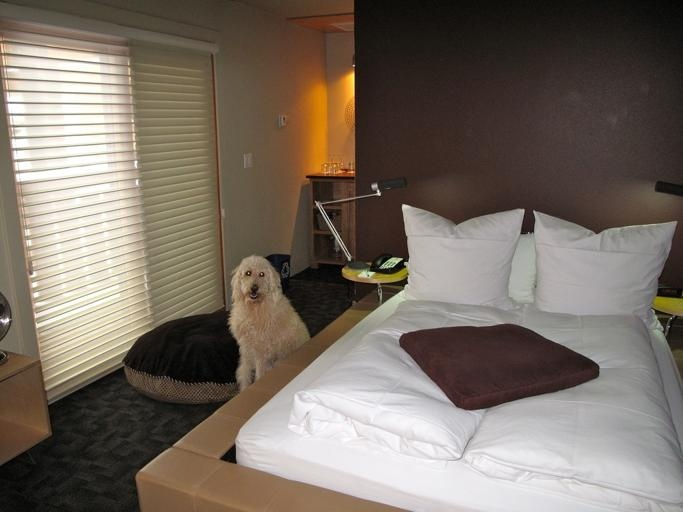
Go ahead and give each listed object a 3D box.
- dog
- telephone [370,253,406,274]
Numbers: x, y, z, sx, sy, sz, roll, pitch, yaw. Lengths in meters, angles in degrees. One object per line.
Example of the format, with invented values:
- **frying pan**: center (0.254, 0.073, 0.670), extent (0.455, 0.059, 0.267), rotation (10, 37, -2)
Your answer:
- **dog**: center (-0.509, 0.505, 3.419), extent (0.459, 1.019, 0.780), rotation (13, 14, 24)
- **telephone**: center (0.375, 0.029, 3.591), extent (0.205, 0.087, 0.151), rotation (12, 26, 24)
